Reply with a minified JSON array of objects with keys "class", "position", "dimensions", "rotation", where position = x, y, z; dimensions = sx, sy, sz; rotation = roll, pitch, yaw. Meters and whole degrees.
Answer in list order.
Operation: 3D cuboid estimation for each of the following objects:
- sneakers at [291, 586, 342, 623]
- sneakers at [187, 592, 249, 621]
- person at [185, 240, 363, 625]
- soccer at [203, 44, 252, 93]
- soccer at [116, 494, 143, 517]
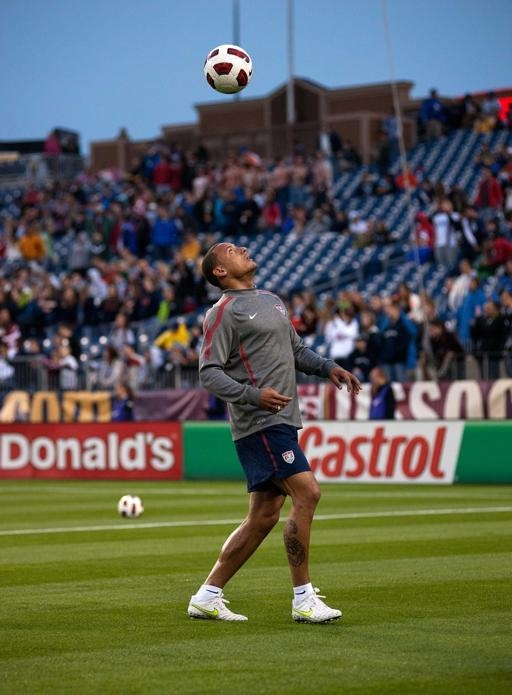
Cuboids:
[{"class":"sneakers","position":[0.297,1.339,7.302],"dimensions":[0.315,0.181,0.116],"rotation":[-2,1,19]},{"class":"sneakers","position":[-0.223,1.374,7.449],"dimensions":[0.359,0.161,0.120],"rotation":[4,-2,4]},{"class":"person","position":[0.071,0.460,7.520],"dimensions":[0.856,1.988,0.678],"rotation":[1,4,13]},{"class":"soccer","position":[-0.238,-2.205,11.318],"dimensions":[0.347,0.418,0.442],"rotation":[1,4,7]},{"class":"soccer","position":[-0.970,1.216,10.839],"dimensions":[0.159,0.201,0.189],"rotation":[1,0,1]}]
